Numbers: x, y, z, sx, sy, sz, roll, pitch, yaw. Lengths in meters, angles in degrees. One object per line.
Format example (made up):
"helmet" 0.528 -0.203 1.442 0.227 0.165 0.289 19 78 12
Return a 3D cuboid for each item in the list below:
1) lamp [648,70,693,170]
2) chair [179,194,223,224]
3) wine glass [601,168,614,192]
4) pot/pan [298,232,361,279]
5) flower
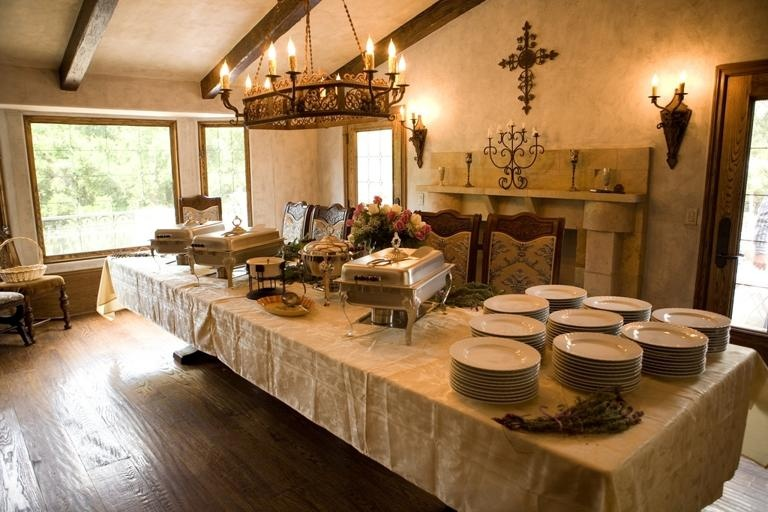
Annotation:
"lamp" 2.443 -1.121 4.309 0.283 0.761 0.136 4 13 29
"chair" -2.195 -0.564 6.077 0.498 0.320 0.631 -5 10 -20
"wine glass" 2.005 -0.683 4.557 0.104 0.207 0.160 3 11 22
"pot/pan" -0.332 -0.006 3.411 0.451 0.301 0.438 -10 12 -13
"flower" -0.019 -0.027 3.580 0.551 0.673 0.609 -21 24 9
